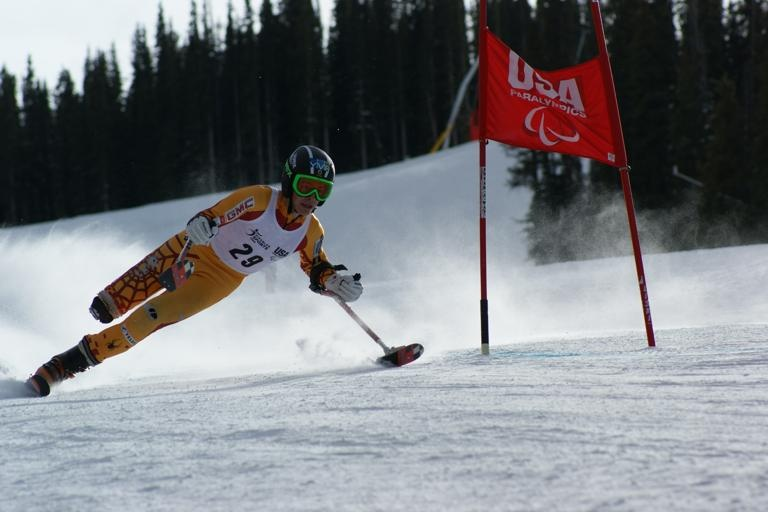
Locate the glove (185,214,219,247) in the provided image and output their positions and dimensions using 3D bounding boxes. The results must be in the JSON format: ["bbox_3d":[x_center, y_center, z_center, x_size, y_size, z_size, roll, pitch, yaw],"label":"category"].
[{"bbox_3d":[-2.762,-0.397,15.559,0.493,0.465,0.301,-9,7,-11],"label":"glove"}]
